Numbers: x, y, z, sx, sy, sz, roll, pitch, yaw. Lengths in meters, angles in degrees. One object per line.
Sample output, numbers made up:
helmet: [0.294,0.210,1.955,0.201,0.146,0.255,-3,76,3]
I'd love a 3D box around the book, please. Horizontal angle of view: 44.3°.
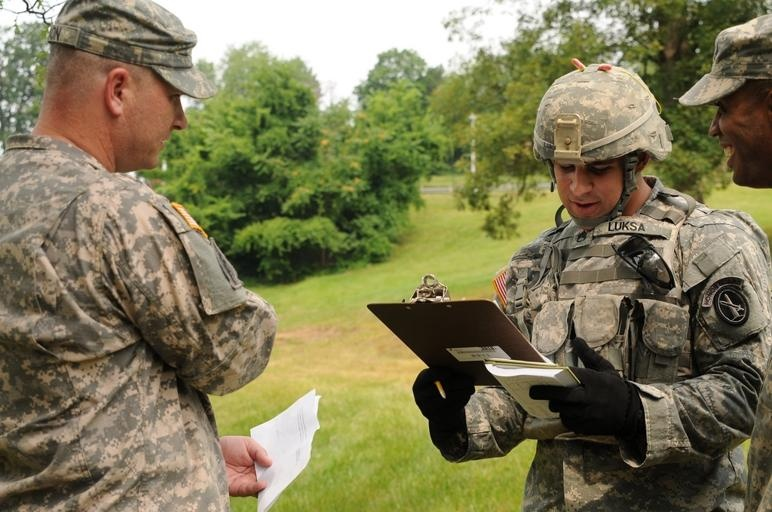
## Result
book: [0.714,0.649,4.521,0.381,0.364,0.344,-1,11,34]
